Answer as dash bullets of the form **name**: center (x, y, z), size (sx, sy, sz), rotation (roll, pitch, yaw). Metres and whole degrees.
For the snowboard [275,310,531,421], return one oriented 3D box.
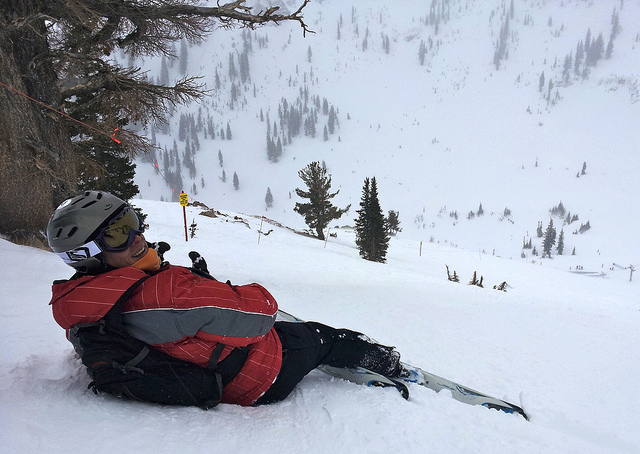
- **snowboard**: center (1.508, 3.004, 11.870), size (4.143, 0.467, 0.196), rotation (15, 25, 4)
